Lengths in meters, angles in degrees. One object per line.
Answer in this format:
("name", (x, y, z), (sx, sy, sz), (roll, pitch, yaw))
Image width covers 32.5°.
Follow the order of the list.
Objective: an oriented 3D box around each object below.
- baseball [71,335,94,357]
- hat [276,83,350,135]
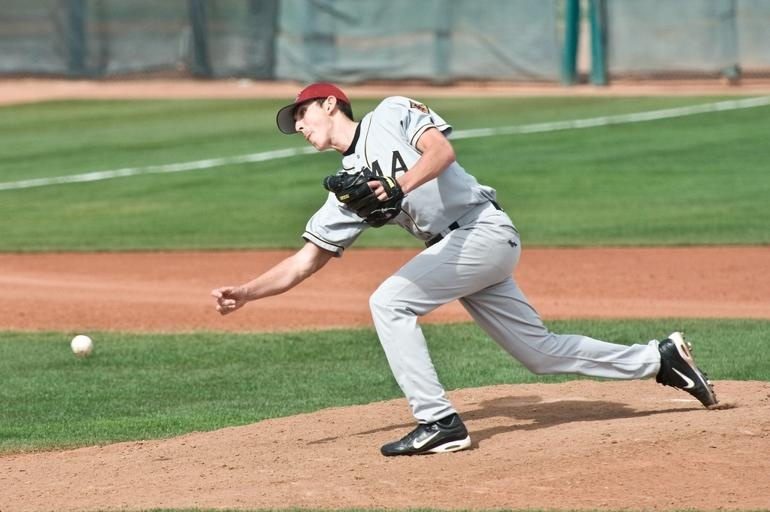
("baseball", (-4.107, 1.185, 17.832), (0.346, 0.248, 0.279), (3, 21, 13))
("hat", (-0.796, -1.842, 15.426), (0.720, 0.295, 0.485), (-3, -15, 34))
